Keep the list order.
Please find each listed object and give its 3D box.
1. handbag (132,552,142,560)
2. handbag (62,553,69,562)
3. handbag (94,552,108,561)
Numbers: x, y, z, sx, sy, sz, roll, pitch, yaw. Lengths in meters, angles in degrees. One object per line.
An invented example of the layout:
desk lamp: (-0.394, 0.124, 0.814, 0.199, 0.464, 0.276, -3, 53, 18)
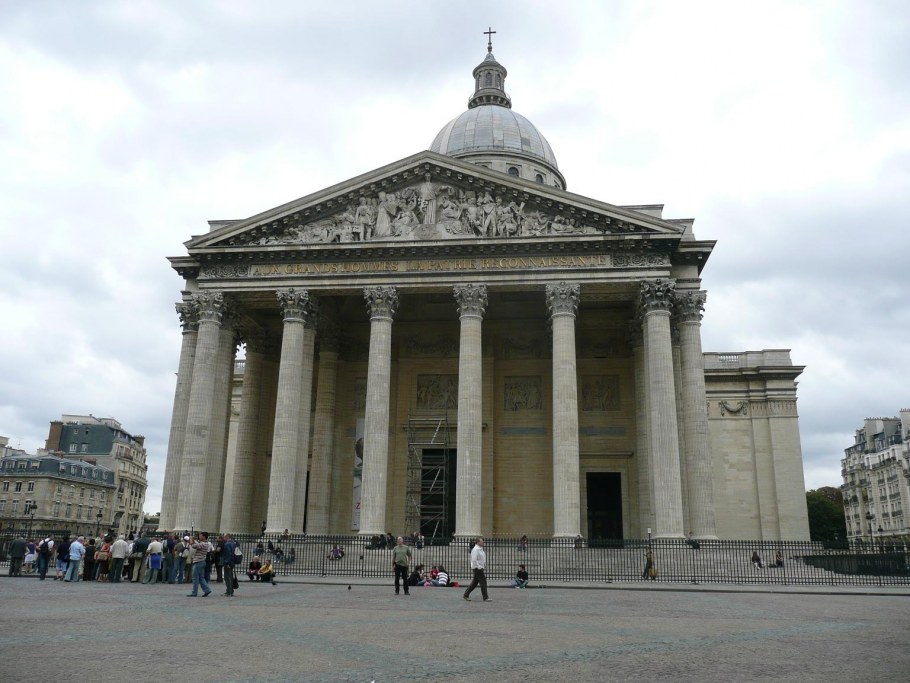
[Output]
handbag: (-11.913, 8.064, 28.116, 0.407, 0.196, 0.255, -2, 25, 0)
handbag: (-15.357, 8.567, 29.456, 0.229, 0.382, 0.555, 7, -17, -21)
handbag: (-13.630, 8.343, 28.863, 0.389, 0.131, 0.293, 6, 3, 41)
